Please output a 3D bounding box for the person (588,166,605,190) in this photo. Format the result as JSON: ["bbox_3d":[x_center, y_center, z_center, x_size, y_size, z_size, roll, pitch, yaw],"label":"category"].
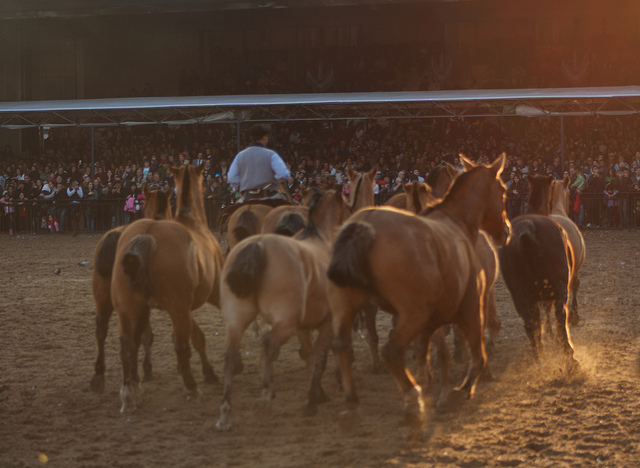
[{"bbox_3d":[10.371,-2.086,37.938,0.591,0.860,0.357,2,6,13],"label":"person"}]

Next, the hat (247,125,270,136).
[{"bbox_3d":[-1.671,-2.750,26.943,0.491,0.284,0.380,1,7,4],"label":"hat"}]

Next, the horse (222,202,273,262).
[{"bbox_3d":[-2.012,-0.213,25.838,0.544,1.553,2.323,3,10,6],"label":"horse"}]

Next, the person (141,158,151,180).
[{"bbox_3d":[-7.083,-2.590,40.907,0.336,1.018,1.690,0,21,-7],"label":"person"}]

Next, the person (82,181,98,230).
[{"bbox_3d":[-9.090,-1.064,39.943,0.549,1.887,0.796,-2,6,-25],"label":"person"}]

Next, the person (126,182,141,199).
[{"bbox_3d":[-7.243,-1.645,39.235,0.626,0.878,0.486,1,-2,3],"label":"person"}]

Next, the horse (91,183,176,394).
[{"bbox_3d":[-4.446,1.591,24.082,1.317,4.695,5.507,-5,-3,-20],"label":"horse"}]

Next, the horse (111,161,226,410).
[{"bbox_3d":[-3.731,1.275,24.337,2.589,5.628,1.635,-2,6,-17],"label":"horse"}]

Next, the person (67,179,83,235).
[{"bbox_3d":[-9.717,-1.027,40.063,0.554,2.003,0.979,-2,6,-22],"label":"person"}]

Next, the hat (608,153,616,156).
[{"bbox_3d":[11.119,-3.019,38.596,0.217,0.097,0.419,3,8,23],"label":"hat"}]
